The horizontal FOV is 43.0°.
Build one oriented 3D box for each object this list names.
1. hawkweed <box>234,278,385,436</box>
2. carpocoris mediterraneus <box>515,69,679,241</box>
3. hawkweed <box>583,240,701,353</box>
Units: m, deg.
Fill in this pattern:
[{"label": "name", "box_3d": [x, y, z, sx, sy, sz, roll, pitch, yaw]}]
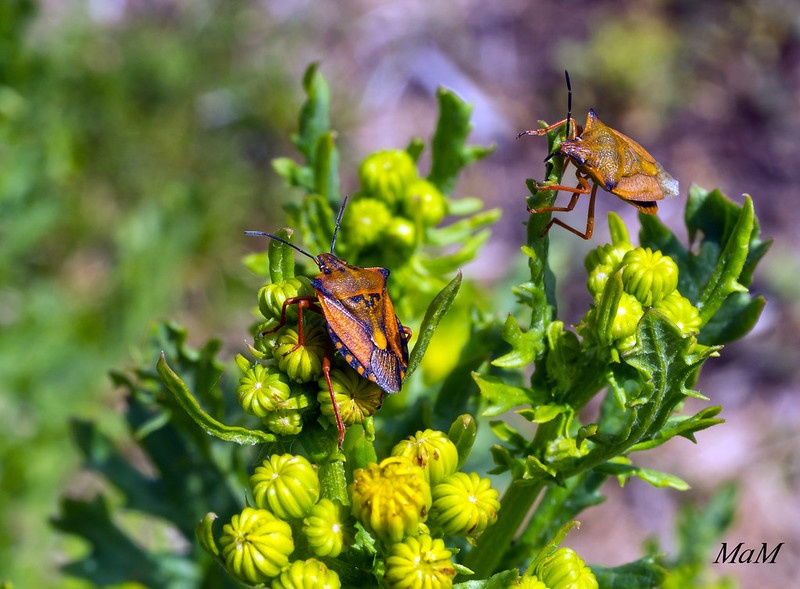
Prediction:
[{"label": "hawkweed", "box_3d": [-0.265, 0.226, 4.350, 0.634, 0.381, 0.661, -17, 59, -1]}, {"label": "carpocoris mediterraneus", "box_3d": [0.949, -0.497, 4.711, 0.634, 0.857, 0.567, -4, 57, 7]}, {"label": "hawkweed", "box_3d": [1.018, 0.012, 4.377, 0.325, 0.610, 0.377, 4, 19, 15]}]
